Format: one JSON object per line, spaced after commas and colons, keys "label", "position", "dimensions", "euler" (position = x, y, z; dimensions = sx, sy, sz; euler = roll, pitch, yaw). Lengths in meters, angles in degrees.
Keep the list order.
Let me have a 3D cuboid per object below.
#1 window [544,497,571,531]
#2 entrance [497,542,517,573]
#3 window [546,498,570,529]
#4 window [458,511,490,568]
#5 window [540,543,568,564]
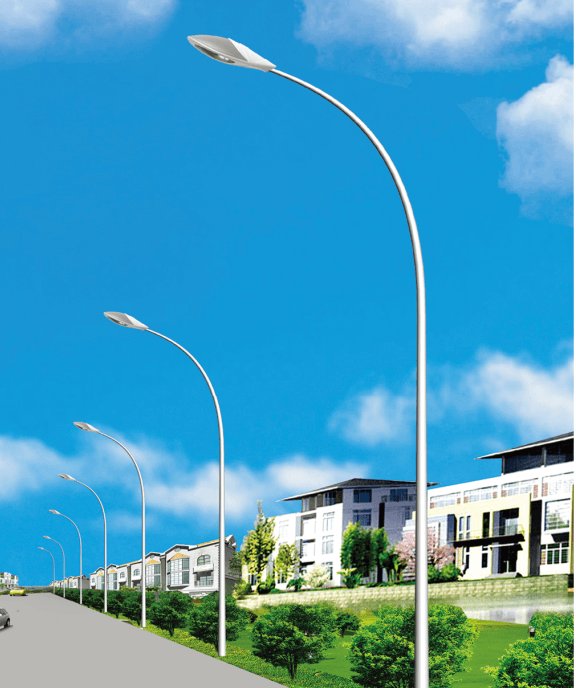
{"label": "window", "position": [12.551, 8.050, 70.869], "dimensions": [0.145, 1.560, 1.505], "euler": [23, -16, -24]}
{"label": "entrance", "position": [10.397, 10.351, 72.463], "dimensions": [1.071, 1.897, 1.276], "euler": [2, -8, -5]}
{"label": "window", "position": [12.571, 8.021, 70.869], "dimensions": [0.129, 1.396, 1.345], "euler": [22, -16, -22]}
{"label": "window", "position": [9.140, 9.833, 75.025], "dimensions": [0.461, 2.762, 2.550], "euler": [6, -9, -24]}
{"label": "window", "position": [12.300, 9.865, 70.537], "dimensions": [0.418, 0.954, 1.813], "euler": [8, -15, -26]}
